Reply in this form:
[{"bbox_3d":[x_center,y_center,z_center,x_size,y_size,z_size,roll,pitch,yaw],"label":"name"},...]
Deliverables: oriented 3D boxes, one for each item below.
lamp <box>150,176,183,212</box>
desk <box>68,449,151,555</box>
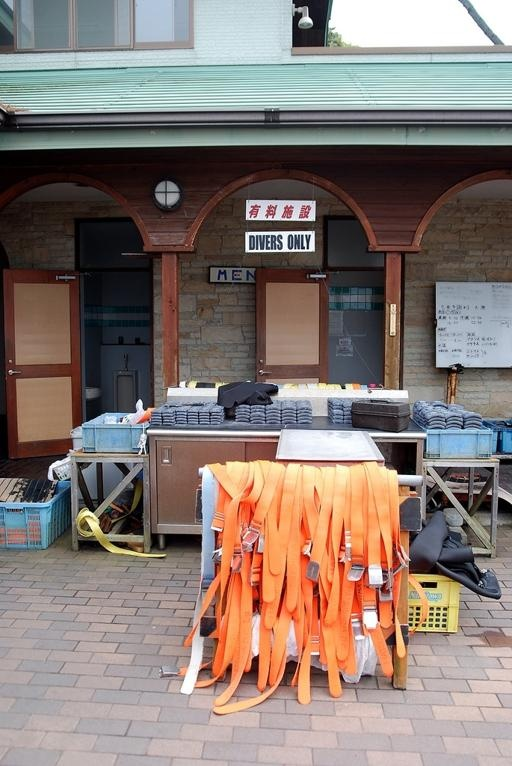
[{"bbox_3d":[-0.813,-1.665,6.042,0.258,0.266,0.261,-6,-3,-7],"label":"lamp"},{"bbox_3d":[-1.140,0.818,5.346,0.671,0.938,0.886,0,2,-1],"label":"desk"}]
